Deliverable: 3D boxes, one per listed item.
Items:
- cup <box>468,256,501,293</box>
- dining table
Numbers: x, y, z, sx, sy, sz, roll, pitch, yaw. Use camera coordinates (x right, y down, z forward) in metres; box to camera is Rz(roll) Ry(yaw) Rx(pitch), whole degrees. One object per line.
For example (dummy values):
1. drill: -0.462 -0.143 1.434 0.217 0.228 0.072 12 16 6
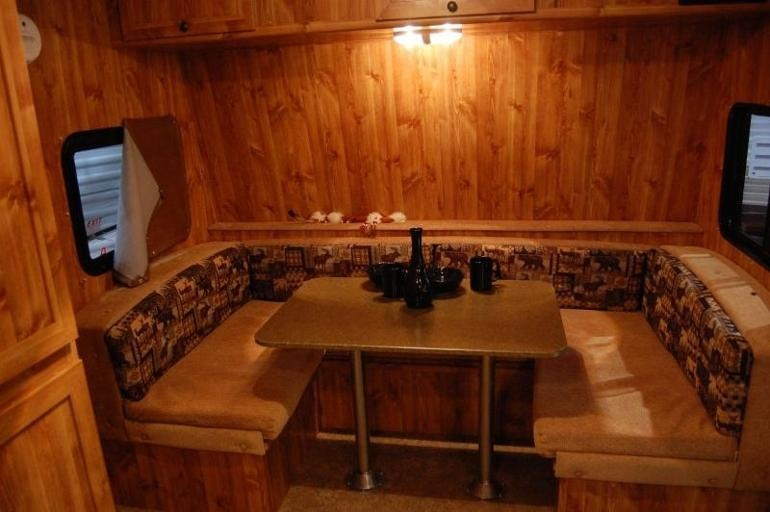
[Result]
1. cup: 0.471 0.086 2.821 0.211 0.180 0.126 -5 6 -32
2. dining table: 0.176 0.830 3.054 1.627 1.033 1.043 2 -60 6
